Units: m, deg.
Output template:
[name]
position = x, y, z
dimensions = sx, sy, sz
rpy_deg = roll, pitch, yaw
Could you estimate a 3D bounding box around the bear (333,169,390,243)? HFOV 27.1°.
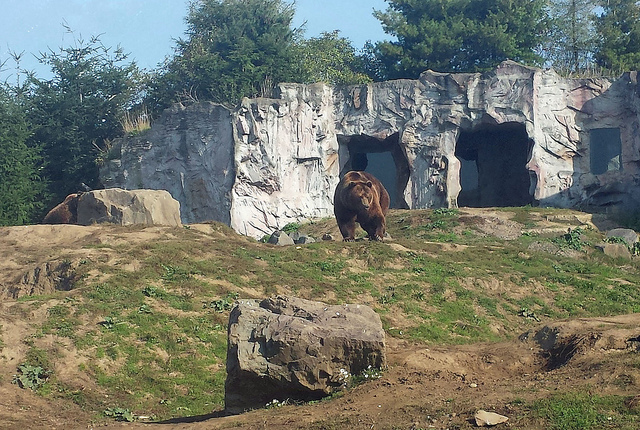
[bear]
position = 1.729, -0.455, 60.542
dimensions = 2.276, 3.327, 5.288
rpy_deg = -4, 6, 2
